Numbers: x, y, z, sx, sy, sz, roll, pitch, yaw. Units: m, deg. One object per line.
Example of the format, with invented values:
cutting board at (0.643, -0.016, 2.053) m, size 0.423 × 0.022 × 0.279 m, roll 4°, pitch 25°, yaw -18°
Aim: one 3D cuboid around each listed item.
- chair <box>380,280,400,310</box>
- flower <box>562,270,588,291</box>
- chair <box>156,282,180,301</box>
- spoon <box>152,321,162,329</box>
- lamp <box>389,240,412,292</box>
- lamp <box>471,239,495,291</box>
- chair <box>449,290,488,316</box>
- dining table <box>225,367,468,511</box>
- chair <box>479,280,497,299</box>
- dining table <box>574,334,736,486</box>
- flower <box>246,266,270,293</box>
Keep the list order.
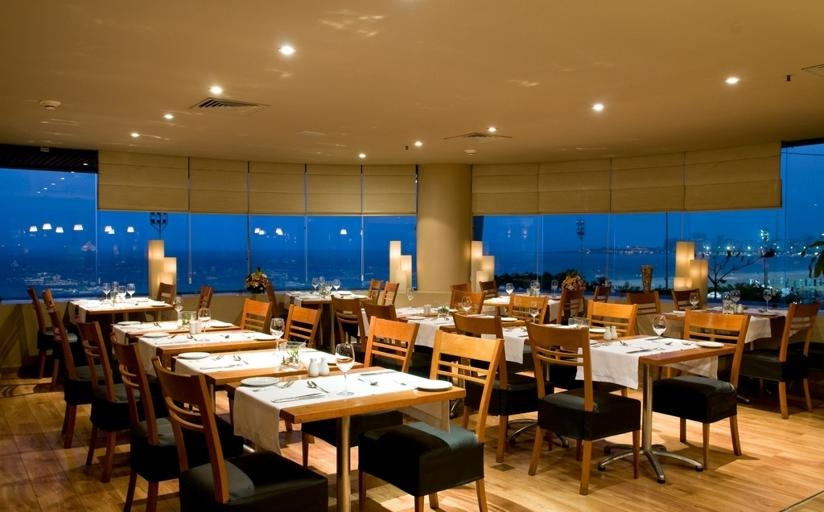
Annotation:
chair at (-0.342, 0.636, 9.320) m, size 0.344 × 0.571 × 0.411 m, roll -1°, pitch -6°, yaw 30°
flower at (3.082, 0.466, 10.202) m, size 0.469 × 0.456 × 0.433 m, roll -3°, pitch 6°, yaw -40°
chair at (-3.992, 0.580, 8.822) m, size 0.279 × 0.428 × 0.303 m, roll 2°, pitch -1°, yaw 4°
spoon at (-2.974, 0.794, 6.345) m, size 0.087 × 0.036 × 0.435 m, roll 4°, pitch 4°, yaw -24°
lamp at (-0.255, 0.207, 11.019) m, size 0.466 × 1.017 × 0.430 m, roll 0°, pitch 7°, yaw -3°
lamp at (1.395, 0.183, 10.926) m, size 0.491 × 0.912 × 0.699 m, roll 0°, pitch 6°, yaw 5°
chair at (0.780, 0.652, 7.786) m, size 0.333 × 0.559 × 0.374 m, roll 1°, pitch -3°, yaw -5°
dining table at (-0.527, 1.126, 3.958) m, size 1.294 × 1.041 × 1.240 m, roll 1°, pitch -4°, yaw -33°
chair at (1.402, 0.582, 9.705) m, size 0.292 × 0.476 × 0.336 m, roll 0°, pitch -4°, yaw -13°
dining table at (2.445, 1.418, 5.572) m, size 1.339 × 1.246 × 1.303 m, roll -1°, pitch 1°, yaw -44°
flower at (-2.956, 0.471, 10.298) m, size 0.405 × 0.488 × 0.401 m, roll -2°, pitch 6°, yaw -18°
